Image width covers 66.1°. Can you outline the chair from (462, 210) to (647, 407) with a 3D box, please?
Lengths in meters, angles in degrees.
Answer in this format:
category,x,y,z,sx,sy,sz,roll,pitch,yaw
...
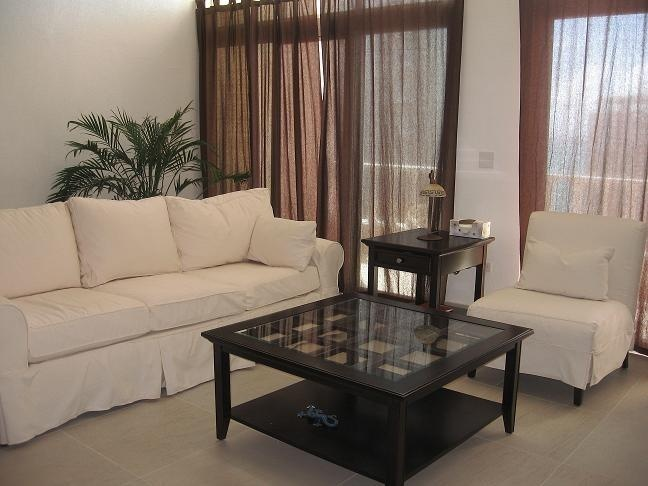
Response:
category,x,y,z,sx,sy,sz,roll,pitch,yaw
chair,1.639,0.372,3.584,1.059,1.287,1.278,7,13,39

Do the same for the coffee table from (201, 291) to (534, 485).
category,x,y,z,sx,sy,sz,roll,pitch,yaw
coffee table,0.336,0.680,2.603,1.021,0.537,1.060,11,16,39

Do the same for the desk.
category,x,y,z,sx,sy,sz,roll,pitch,yaw
desk,0.839,0.022,3.941,0.699,0.762,0.756,7,12,38
